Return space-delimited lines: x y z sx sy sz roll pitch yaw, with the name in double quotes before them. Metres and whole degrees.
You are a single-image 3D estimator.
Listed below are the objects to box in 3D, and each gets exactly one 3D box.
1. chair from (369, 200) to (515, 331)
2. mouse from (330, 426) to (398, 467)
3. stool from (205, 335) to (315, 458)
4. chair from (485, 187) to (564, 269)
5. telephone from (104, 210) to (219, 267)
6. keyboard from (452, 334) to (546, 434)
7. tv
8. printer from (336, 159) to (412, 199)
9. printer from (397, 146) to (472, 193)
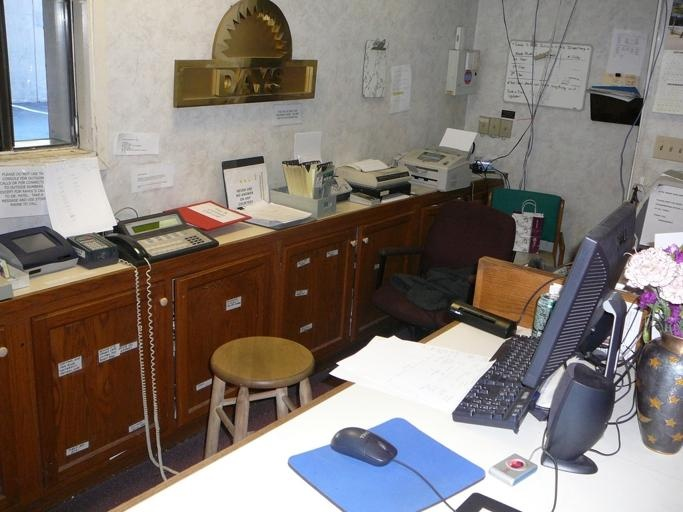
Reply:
"chair" 0.627 0.170 3.135 0.721 0.920 0.771 10 18 36
"mouse" 0.054 0.492 1.358 0.177 0.057 0.102 11 12 18
"stool" -0.304 0.499 2.132 0.347 0.611 0.357 17 21 35
"chair" 1.283 -0.198 3.654 0.490 0.655 0.385 5 17 8
"telephone" -0.836 -0.086 2.364 0.341 0.119 0.419 20 29 41
"keyboard" 0.535 0.380 1.650 0.173 0.055 0.451 3 26 38
"tv" 0.651 0.183 1.438 0.167 0.540 0.615 10 16 23
"printer" 0.216 -0.513 3.520 0.461 0.276 0.457 -6 21 -37
"printer" 0.683 -0.679 3.848 0.470 0.329 0.434 20 26 38
